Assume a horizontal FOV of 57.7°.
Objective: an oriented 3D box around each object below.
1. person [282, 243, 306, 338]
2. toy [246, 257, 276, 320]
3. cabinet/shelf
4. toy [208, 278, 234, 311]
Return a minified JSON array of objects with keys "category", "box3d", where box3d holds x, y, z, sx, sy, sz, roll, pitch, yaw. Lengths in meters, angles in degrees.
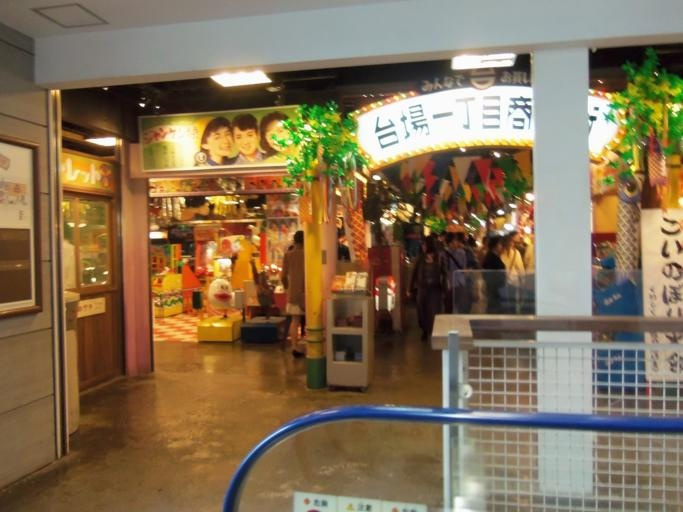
[{"category":"person","box3d":[-0.674,0.354,8.517,0.314,1.398,0.567,-3,4,-6]},{"category":"toy","box3d":[-1.283,0.566,10.110,0.333,0.766,1.017,-3,5,-8]},{"category":"cabinet/shelf","box3d":[0.069,0.922,6.795,0.484,1.017,0.439,-2,4,10]},{"category":"toy","box3d":[-2.145,0.665,10.804,0.464,0.573,0.509,-2,2,-19]}]
